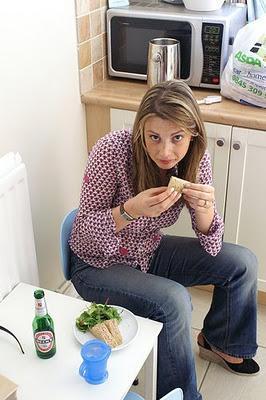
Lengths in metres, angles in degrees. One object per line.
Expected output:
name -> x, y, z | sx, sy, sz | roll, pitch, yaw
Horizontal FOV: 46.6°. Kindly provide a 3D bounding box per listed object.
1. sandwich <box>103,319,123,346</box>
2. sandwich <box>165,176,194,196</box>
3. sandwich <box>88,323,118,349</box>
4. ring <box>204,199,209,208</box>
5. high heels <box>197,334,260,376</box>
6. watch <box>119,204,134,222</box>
sandwich -> -0.043, 0.285, 0.669 | 0.028, 0.017, 0.049 | 30, 25, -44
sandwich -> 0.118, -0.042, 0.818 | 0.048, 0.050, 0.018 | 17, 24, -27
sandwich -> -0.061, 0.284, 0.651 | 0.055, 0.021, 0.032 | 38, 45, 16
ring -> 0.204, 0.011, 0.869 | 0.012, 0.024, 0.016 | 5, 15, 21
high heels -> 0.401, 0.672, 1.325 | 0.272, 0.108, 0.106 | 19, 35, 26
watch -> -0.018, 0.033, 0.862 | 0.032, 0.019, 0.033 | 37, 21, -44
